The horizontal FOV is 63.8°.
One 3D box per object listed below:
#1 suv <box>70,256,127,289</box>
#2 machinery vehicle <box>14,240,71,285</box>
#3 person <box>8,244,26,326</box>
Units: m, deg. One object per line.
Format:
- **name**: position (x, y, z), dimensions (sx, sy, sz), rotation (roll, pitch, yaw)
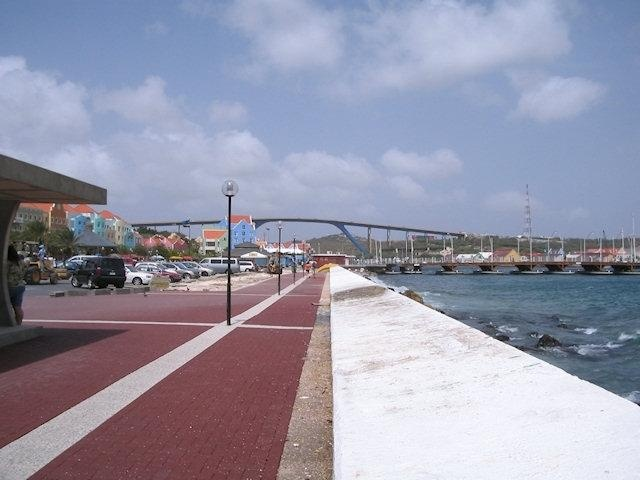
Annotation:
- **suv**: position (-10.750, 1.484, 25.016), dimensions (1.507, 1.271, 2.863), rotation (2, 2, -44)
- **machinery vehicle**: position (-17.088, 1.322, 30.289), dimensions (2.352, 2.509, 4.143), rotation (1, -3, -1)
- **person**: position (-6.640, 0.968, 11.207), dimensions (0.309, 1.781, 0.722), rotation (0, -2, -31)
